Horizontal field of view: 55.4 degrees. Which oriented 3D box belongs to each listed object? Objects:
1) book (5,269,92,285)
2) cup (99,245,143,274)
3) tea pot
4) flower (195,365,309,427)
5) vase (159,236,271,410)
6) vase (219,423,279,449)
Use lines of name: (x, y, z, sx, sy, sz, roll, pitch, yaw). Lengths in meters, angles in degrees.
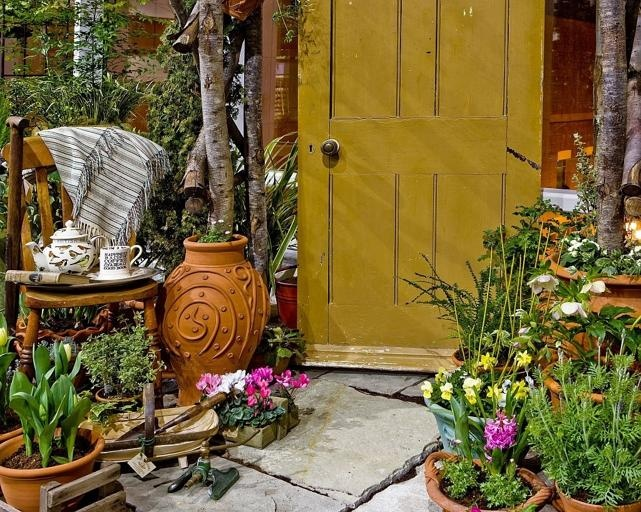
book: (-1.200, 0.094, 2.658, 0.369, 0.070, 0.132, 2, 14, 7)
cup: (-0.943, 0.016, 2.884, 0.189, 0.155, 0.121, 1, 2, -24)
tea pot: (-1.198, -0.036, 2.894, 0.330, 0.264, 0.225, 2, 0, -23)
flower: (-0.305, 0.650, 2.867, 0.396, 0.268, 0.440, -9, -9, 28)
vase: (-0.558, 0.299, 3.088, 0.501, 0.801, 0.464, 8, 13, 13)
vase: (-0.311, 0.804, 2.724, 0.125, 0.053, 0.133, -1, 2, 20)
